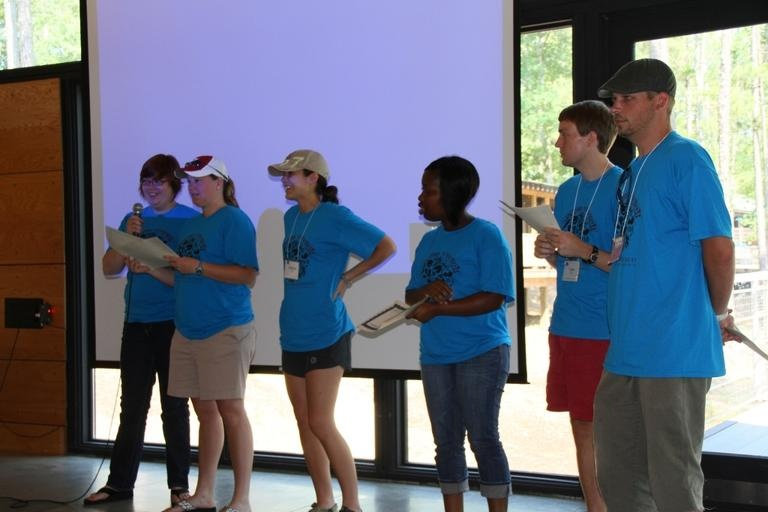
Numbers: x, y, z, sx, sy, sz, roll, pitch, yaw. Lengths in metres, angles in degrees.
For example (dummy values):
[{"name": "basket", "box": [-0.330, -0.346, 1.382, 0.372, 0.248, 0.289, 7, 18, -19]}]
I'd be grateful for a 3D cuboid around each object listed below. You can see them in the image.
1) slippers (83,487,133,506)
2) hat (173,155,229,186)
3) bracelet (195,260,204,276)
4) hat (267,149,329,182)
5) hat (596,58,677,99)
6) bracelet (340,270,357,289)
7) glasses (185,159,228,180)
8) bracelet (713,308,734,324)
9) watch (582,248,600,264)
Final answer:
[{"name": "slippers", "box": [-1.892, 1.624, 4.597, 0.311, 0.093, 0.114, 5, -6, -26]}, {"name": "hat", "box": [-1.164, -0.554, 4.312, 0.270, 0.139, 0.181, 5, -10, -36]}, {"name": "bracelet", "box": [-1.145, 0.075, 4.144, 0.068, 0.068, 0.064, -2, 5, -11]}, {"name": "hat", "box": [-0.533, -0.568, 4.186, 0.309, 0.152, 0.219, 7, -1, -9]}, {"name": "hat", "box": [1.223, -0.834, 3.186, 0.370, 0.182, 0.264, 6, 6, 0]}, {"name": "bracelet", "box": [-0.216, 0.159, 4.189, 0.044, 0.118, 0.087, 23, 10, -12]}, {"name": "glasses", "box": [-1.136, -0.537, 4.285, 0.218, 0.083, 0.134, 4, 9, -24]}, {"name": "bracelet", "box": [1.542, 0.271, 3.049, 0.109, 0.043, 0.037, -28, 15, -22]}, {"name": "watch", "box": [1.086, -0.016, 3.484, 0.063, 0.098, 0.091, 30, 16, 12]}]
